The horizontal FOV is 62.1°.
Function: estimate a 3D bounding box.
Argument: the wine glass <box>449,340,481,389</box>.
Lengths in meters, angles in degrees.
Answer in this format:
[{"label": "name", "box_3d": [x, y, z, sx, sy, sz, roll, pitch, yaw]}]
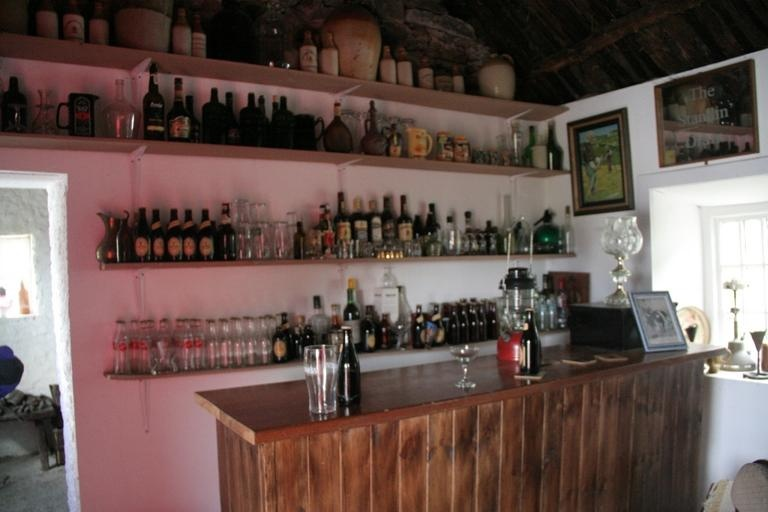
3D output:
[{"label": "wine glass", "box_3d": [0.476, 0.627, 3.774, 0.144, 0.246, 0.444, -5, -1, 5]}]

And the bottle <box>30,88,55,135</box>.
[{"label": "bottle", "box_3d": [-2.158, -0.907, 4.042, 0.138, 0.225, 0.204, -4, -1, -36]}]

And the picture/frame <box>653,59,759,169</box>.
[{"label": "picture/frame", "box_3d": [2.354, -1.037, 4.612, 0.089, 0.817, 0.818, -2, 0, -38]}]

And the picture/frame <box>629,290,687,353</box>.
[{"label": "picture/frame", "box_3d": [1.861, 0.459, 4.386, 0.372, 0.404, 0.041, 6, -31, -26]}]

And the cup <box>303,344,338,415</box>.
[{"label": "cup", "box_3d": [-0.319, 0.637, 3.348, 0.188, 0.327, 0.230, -4, -1, -6]}]
